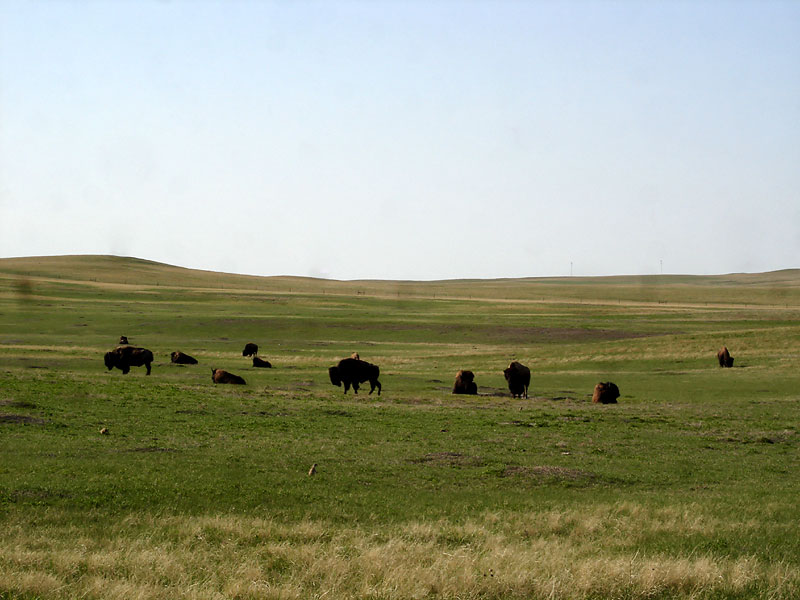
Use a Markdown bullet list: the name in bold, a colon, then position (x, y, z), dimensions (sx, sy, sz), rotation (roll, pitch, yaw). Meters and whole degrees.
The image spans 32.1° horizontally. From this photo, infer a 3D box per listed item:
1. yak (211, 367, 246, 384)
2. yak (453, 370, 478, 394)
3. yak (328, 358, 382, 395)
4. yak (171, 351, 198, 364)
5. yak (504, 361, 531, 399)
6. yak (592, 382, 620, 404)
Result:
- **yak**: position (-7.729, 3.438, 61.967), dimensions (1.498, 0.679, 2.034), rotation (3, -4, -20)
- **yak**: position (2.839, 3.708, 62.512), dimensions (1.098, 1.068, 1.391), rotation (2, -3, 2)
- **yak**: position (-2.070, 3.411, 62.831), dimensions (2.248, 1.642, 2.978), rotation (3, -4, -15)
- **yak**: position (-10.826, 2.911, 68.830), dimensions (1.159, 0.681, 1.889), rotation (3, -4, -9)
- **yak**: position (5.184, 3.598, 62.568), dimensions (1.067, 1.630, 1.861), rotation (2, -3, 4)
- **yak**: position (8.981, 4.115, 60.512), dimensions (0.795, 0.995, 1.026), rotation (-3, -22, -12)
